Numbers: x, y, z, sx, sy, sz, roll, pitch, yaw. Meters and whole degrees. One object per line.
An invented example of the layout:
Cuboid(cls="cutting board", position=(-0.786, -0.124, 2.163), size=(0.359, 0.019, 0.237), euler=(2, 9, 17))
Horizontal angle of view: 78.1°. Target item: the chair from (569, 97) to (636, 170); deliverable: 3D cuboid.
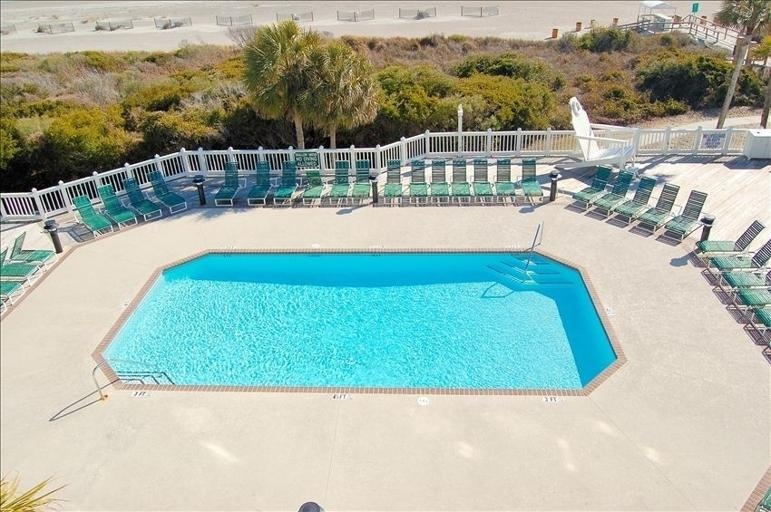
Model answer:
Cuboid(cls="chair", position=(8.786, -4.976, 19.419), size=(2.574, 2.542, 2.580), euler=(8, 31, 16))

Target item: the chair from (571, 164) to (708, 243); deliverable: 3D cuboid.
Cuboid(cls="chair", position=(9.264, -1.742, 16.498), size=(2.951, 1.404, 1.644), euler=(20, 36, 34))
